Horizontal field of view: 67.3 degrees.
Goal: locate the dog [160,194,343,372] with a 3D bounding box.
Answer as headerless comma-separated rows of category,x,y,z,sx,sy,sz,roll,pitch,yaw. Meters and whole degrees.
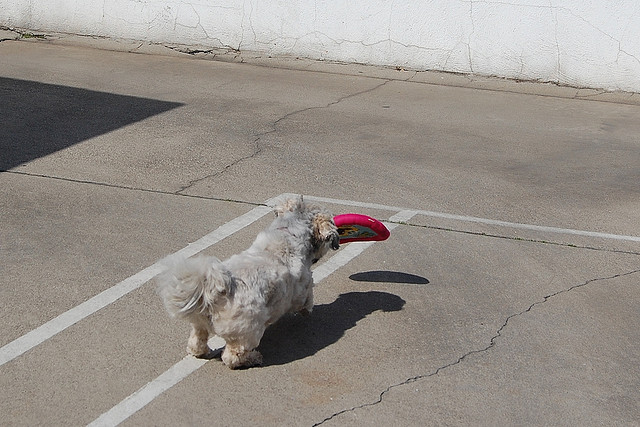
dog,-0.329,0.467,4.752,0.922,1.244,2.330,23,39,31

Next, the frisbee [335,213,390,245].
frisbee,0.446,0.125,5.108,0.538,0.294,0.125,0,34,-15
